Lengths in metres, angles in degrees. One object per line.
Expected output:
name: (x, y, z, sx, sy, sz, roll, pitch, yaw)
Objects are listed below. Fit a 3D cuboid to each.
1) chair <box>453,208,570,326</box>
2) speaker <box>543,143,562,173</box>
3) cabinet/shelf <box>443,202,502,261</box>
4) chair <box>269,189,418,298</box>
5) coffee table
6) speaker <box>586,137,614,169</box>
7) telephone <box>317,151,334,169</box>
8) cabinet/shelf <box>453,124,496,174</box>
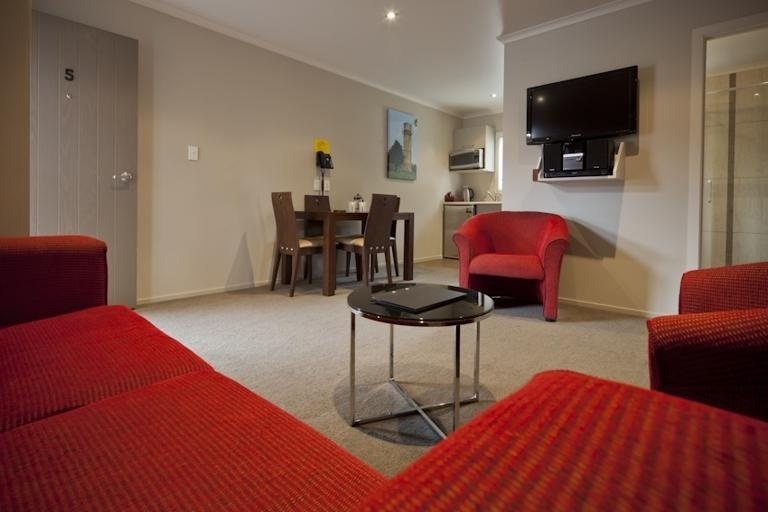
chair: (1.163, 0.096, 4.509, 0.905, 0.998, 0.846, 2, 5, 24)
speaker: (1.507, -0.872, 4.484, 0.176, 0.253, 0.058, 4, 9, 26)
cabinet/shelf: (1.189, -0.323, 7.854, 0.529, 0.830, 0.458, 10, 10, 15)
chair: (-0.498, 0.088, 5.550, 1.009, 1.102, 1.502, 2, 3, 44)
coffee table: (0.199, 0.573, 2.838, 0.816, 0.673, 0.834, -1, 8, -23)
speaker: (1.861, -0.867, 4.272, 0.240, 0.252, 0.134, 0, 9, 1)
telephone: (-0.697, -1.131, 5.873, 0.202, 0.212, 0.079, -3, 4, -44)
cabinet/shelf: (1.347, -1.658, 7.830, 0.683, 0.682, 0.573, 3, -1, 35)
